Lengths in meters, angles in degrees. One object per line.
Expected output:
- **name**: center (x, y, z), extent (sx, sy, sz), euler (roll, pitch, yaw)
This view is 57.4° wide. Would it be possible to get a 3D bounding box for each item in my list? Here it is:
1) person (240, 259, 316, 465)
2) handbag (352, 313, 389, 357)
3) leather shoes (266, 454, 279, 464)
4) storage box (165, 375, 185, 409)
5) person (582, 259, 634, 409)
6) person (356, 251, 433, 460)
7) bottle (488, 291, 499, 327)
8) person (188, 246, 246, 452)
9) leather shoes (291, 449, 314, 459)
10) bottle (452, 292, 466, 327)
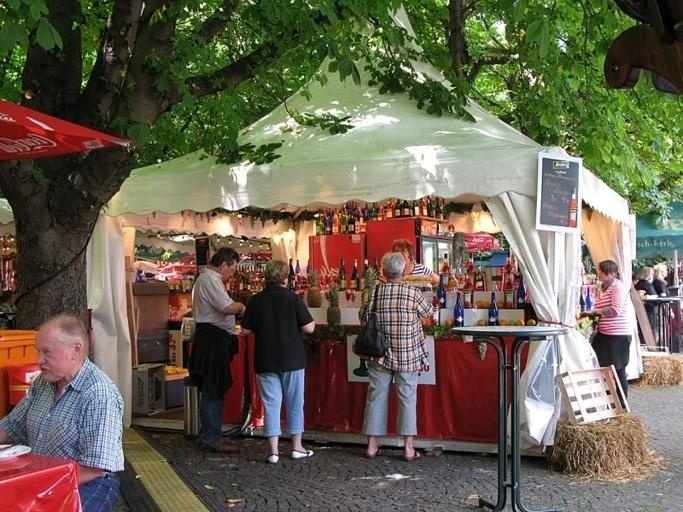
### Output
- **person**: center (-0.733, 1.209, 7.213), extent (0.788, 2.297, 0.329), euler (0, -1, -8)
- **handbag**: center (0.304, 0.904, 7.117), extent (0.394, 0.545, 0.200), euler (-1, -1, 34)
- **leather shoes**: center (-0.786, 2.302, 7.102), extent (0.139, 0.098, 0.115), euler (0, -1, -10)
- **storage box**: center (-2.817, 2.243, 10.145), extent (0.371, 0.453, 0.655), euler (3, -12, -32)
- **person**: center (3.835, 1.028, 8.954), extent (0.559, 1.939, 1.280), euler (0, -1, 26)
- **person**: center (0.619, 1.327, 7.163), extent (0.807, 2.028, 0.345), euler (0, -1, 4)
- **bottle**: center (1.867, 0.645, 7.686), extent (0.128, 0.376, 0.373), euler (0, -1, 13)
- **person**: center (-1.550, 1.134, 7.657), extent (0.614, 2.475, 0.407), euler (0, -1, -14)
- **leather shoes**: center (-0.470, 2.301, 7.319), extent (0.100, 0.098, 0.265), euler (3, 4, 39)
- **bottle**: center (1.422, 0.650, 7.615), extent (0.121, 0.393, 0.434), euler (0, -1, 10)
